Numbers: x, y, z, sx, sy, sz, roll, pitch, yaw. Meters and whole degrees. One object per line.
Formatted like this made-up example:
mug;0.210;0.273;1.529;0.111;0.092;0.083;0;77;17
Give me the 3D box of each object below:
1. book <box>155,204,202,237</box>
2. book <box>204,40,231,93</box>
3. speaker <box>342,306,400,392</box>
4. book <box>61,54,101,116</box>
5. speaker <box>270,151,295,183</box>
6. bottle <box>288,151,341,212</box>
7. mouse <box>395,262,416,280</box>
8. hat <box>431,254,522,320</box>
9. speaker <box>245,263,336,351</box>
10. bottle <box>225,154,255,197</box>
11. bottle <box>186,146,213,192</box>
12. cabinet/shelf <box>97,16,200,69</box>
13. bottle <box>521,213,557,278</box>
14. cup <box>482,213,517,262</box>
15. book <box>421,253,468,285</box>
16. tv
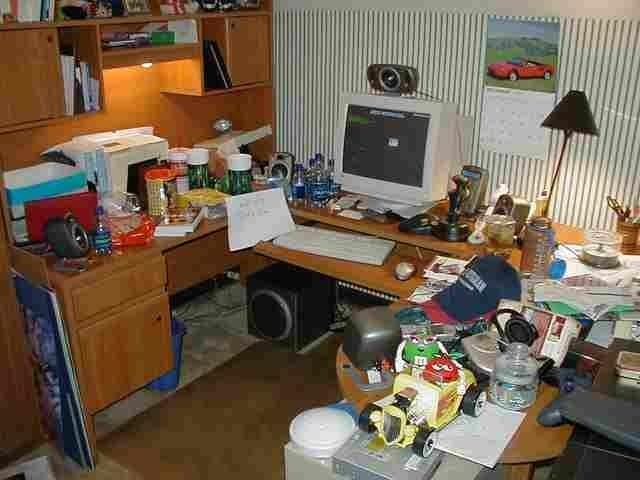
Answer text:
book;-0.796;-0.100;2.748;0.153;0.052;0.231;4;30;6
book;-0.728;-1.194;3.363;0.070;0.277;0.293;-25;37;-30
speaker;0.206;0.380;1.774;0.198;0.205;0.224;-4;21;-14
book;-1.308;-0.830;2.656;0.090;0.260;0.253;11;15;24
speaker;-0.250;-0.475;3.242;0.187;0.256;0.140;7;17;21
bottle;-0.012;-0.418;3.351;0.379;0.401;0.313;14;19;31
mouse;0.424;0.154;2.464;0.085;0.059;0.119;18;26;37
hat;0.642;0.203;1.999;0.332;0.091;0.215;-35;53;5
speaker;-0.141;0.362;3.325;0.515;0.553;0.571;22;33;40
bottle;-0.511;-0.418;3.110;0.237;0.344;0.233;1;15;0
bottle;-0.782;-0.450;3.136;0.132;0.245;0.098;-5;22;-17
cabinet/shelf;-1.102;-1.212;2.990;0.330;0.293;0.694;16;25;34
bottle;1.042;0.023;2.340;0.144;0.247;0.263;12;23;24
cup;0.919;-0.036;2.596;0.241;0.234;0.184;8;28;23
book;0.599;0.138;2.380;0.138;0.035;0.144;12;40;27
tv;0.500;-0.499;2.933;0.600;0.520;0.364;23;34;29
